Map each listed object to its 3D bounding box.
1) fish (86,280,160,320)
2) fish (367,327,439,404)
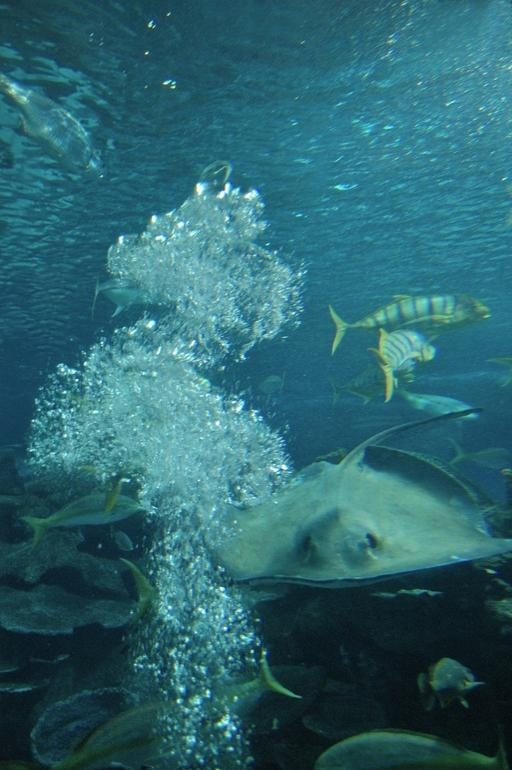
[{"bbox_3d":[-2.013,-1.158,11.125,1.462,0.590,0.512,13,12,39],"label":"fish"},{"bbox_3d":[1.206,-0.250,7.008,0.862,0.429,0.253,-22,7,-32],"label":"fish"}]
